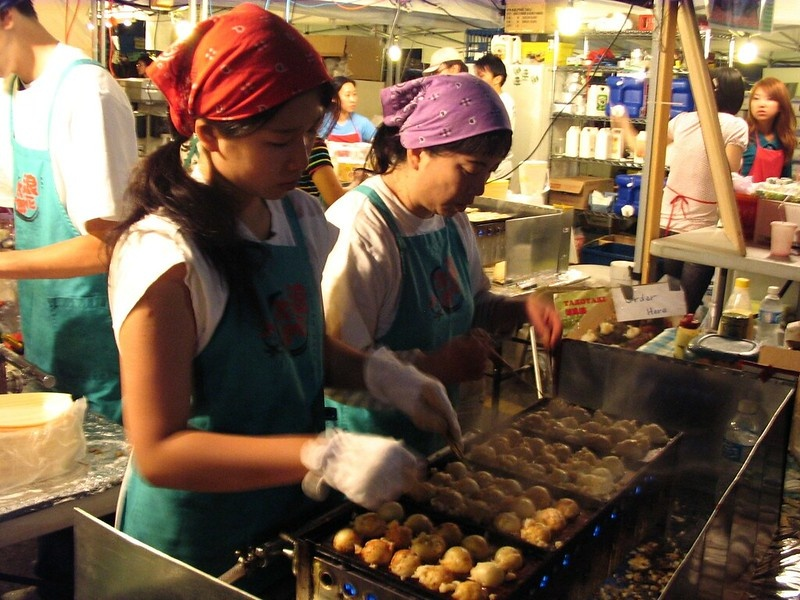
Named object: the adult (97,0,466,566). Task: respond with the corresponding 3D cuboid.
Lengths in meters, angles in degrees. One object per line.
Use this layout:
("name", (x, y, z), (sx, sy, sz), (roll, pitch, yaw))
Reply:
("adult", (-0.261, 0.007, 1.409), (0.731, 1.288, 0.660), (-7, 14, -30))

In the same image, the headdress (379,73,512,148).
("headdress", (0.122, -0.559, 1.967), (0.373, 0.184, 0.255), (2, 22, 27))

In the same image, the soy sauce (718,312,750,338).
("soy sauce", (1.605, 0.119, 2.995), (0.107, 0.174, 0.106), (7, 12, 40))

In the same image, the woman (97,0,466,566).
("woman", (-0.261, 0.007, 1.409), (0.731, 1.288, 0.660), (-7, 14, -30))

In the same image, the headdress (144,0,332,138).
("headdress", (-0.321, -0.443, 1.322), (0.343, 0.167, 0.251), (-18, 37, 7))

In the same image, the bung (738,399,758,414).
("bung", (1.140, 0.351, 2.051), (0.050, 0.025, 0.047), (-1, 13, 3))

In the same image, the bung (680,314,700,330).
("bung", (1.311, 0.098, 2.837), (0.082, 0.067, 0.058), (13, 18, 38))

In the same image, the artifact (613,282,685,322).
("artifact", (1.058, 0.006, 2.663), (0.197, 0.105, 0.037), (-9, -1, -4))
